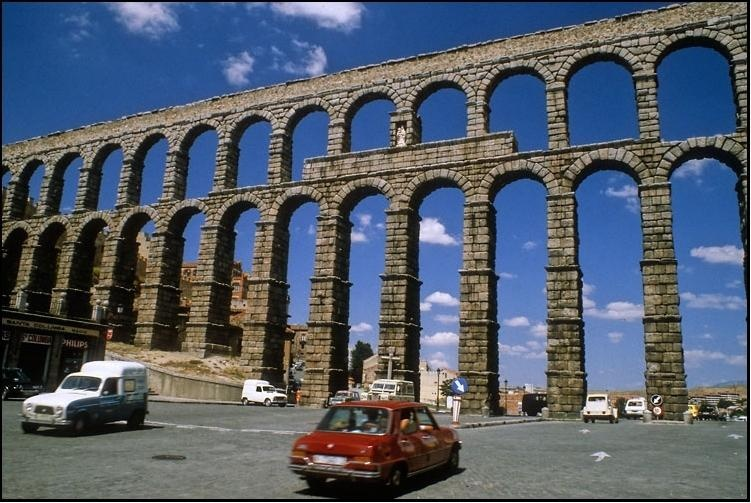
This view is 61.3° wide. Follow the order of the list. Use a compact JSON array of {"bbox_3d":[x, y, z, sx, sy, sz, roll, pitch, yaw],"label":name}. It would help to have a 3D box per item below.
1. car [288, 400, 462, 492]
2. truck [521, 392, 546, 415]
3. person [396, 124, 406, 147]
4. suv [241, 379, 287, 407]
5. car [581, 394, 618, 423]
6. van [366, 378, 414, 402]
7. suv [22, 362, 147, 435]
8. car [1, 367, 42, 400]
[{"bbox_3d":[-0.048,5.663,18.384,4.495,2.427,1.689,5,-8,-30],"label":"car"},{"bbox_3d":[12.686,12.357,50.972,1.638,1.679,3.229,0,-7,9],"label":"truck"},{"bbox_3d":[1.723,-7.729,42.545,0.609,1.674,0.972,3,-7,-8],"label":"person"},{"bbox_3d":[-7.131,9.229,41.135,2.794,1.281,1.485,-4,-13,22],"label":"suv"},{"bbox_3d":[12.290,8.653,34.689,1.346,0.965,2.177,-4,-12,25],"label":"car"},{"bbox_3d":[1.019,8.032,36.522,1.737,1.171,2.872,-4,-9,40],"label":"van"},{"bbox_3d":[-10.827,5.506,23.943,1.592,2.594,4.032,-4,-8,36],"label":"suv"},{"bbox_3d":[-17.670,6.597,31.354,2.137,0.928,1.155,-7,-12,31],"label":"car"}]
